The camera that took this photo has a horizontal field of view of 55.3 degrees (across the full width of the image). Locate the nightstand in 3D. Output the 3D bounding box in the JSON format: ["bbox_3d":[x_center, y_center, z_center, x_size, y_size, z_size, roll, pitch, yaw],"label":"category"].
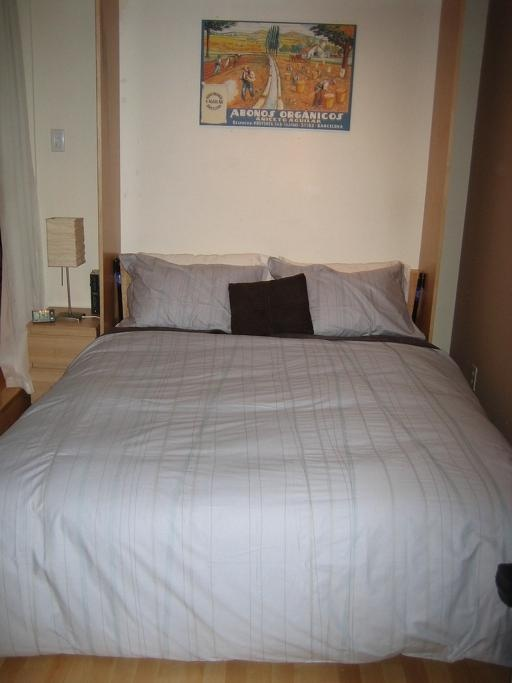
[{"bbox_3d":[-1.104,0.042,2.954,0.406,0.639,0.406,-1,8,-4],"label":"nightstand"}]
